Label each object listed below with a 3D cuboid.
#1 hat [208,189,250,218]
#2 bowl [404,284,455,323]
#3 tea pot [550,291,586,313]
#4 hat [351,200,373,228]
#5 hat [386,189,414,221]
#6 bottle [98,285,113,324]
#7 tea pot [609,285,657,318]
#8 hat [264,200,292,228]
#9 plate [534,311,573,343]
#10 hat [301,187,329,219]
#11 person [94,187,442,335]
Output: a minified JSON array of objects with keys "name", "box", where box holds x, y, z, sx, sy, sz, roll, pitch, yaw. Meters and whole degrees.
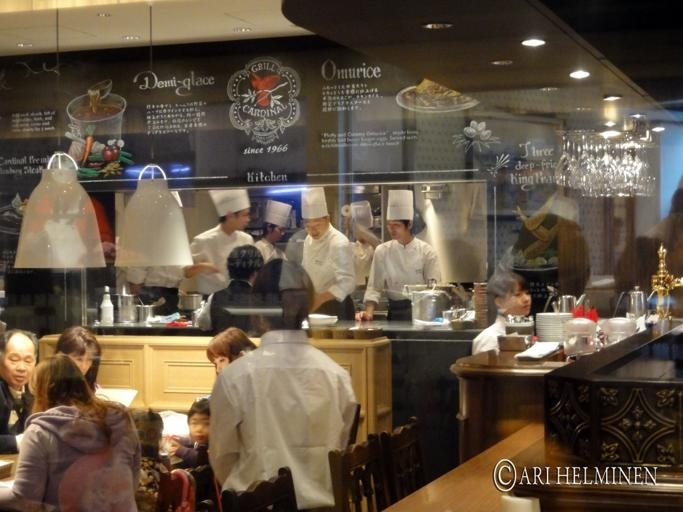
[{"name":"hat","box":[-0.771,-0.379,4.787,0.211,0.180,0.233,-26,5,-40]},{"name":"bowl","box":[0.534,0.313,4.293,0.249,0.215,0.200,-1,-2,11]},{"name":"tea pot","box":[1.098,0.226,3.334,0.156,0.089,0.105,0,3,20]},{"name":"hat","box":[0.137,-0.285,4.586,0.172,0.169,0.131,2,-5,2]},{"name":"hat","box":[0.406,-0.319,4.637,0.197,0.213,0.199,-4,-11,20]},{"name":"bottle","box":[-1.480,0.315,4.334,0.082,0.245,0.061,-1,3,-20]},{"name":"tea pot","box":[1.366,0.225,3.236,0.193,0.184,0.108,-3,-1,20]},{"name":"hat","box":[-0.404,-0.279,4.549,0.188,0.171,0.171,1,-6,37]},{"name":"plate","box":[1.009,0.337,3.266,0.145,0.115,0.145,1,-5,-4]},{"name":"hat","box":[-0.171,-0.341,4.463,0.170,0.217,0.224,-3,-5,9]},{"name":"person","box":[-0.295,0.030,4.282,1.677,1.071,0.708,0,-1,13]}]
